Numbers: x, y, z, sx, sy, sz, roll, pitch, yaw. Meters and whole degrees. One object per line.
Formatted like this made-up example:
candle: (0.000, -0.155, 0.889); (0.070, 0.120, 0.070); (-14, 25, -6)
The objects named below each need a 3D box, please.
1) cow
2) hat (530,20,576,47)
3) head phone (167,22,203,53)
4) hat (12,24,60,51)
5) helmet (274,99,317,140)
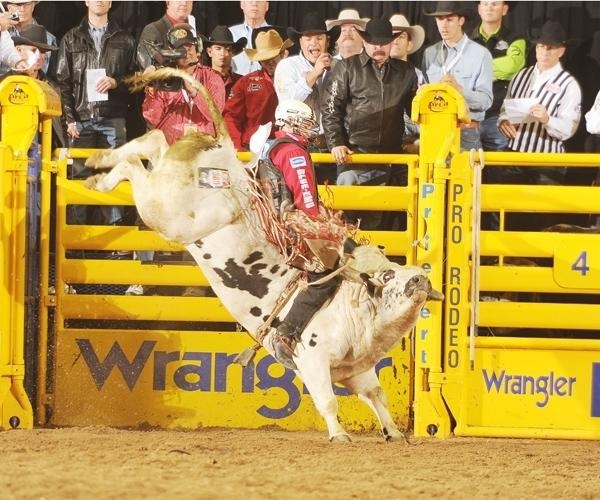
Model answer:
cow: (-0.248, 0.180, 11.534); (1.946, 3.449, 1.005); (-44, 6, 11)
hat: (2.380, -2.030, 13.192); (0.253, 0.100, 0.294); (24, 6, 34)
head phone: (-1.075, -1.988, 13.176); (0.226, 0.152, 0.307); (-4, -10, 36)
hat: (-2.497, -1.994, 13.249); (0.315, 0.122, 0.329); (3, 0, -6)
helmet: (-0.063, -1.045, 11.265); (0.359, 0.238, 0.235); (10, 5, 5)
